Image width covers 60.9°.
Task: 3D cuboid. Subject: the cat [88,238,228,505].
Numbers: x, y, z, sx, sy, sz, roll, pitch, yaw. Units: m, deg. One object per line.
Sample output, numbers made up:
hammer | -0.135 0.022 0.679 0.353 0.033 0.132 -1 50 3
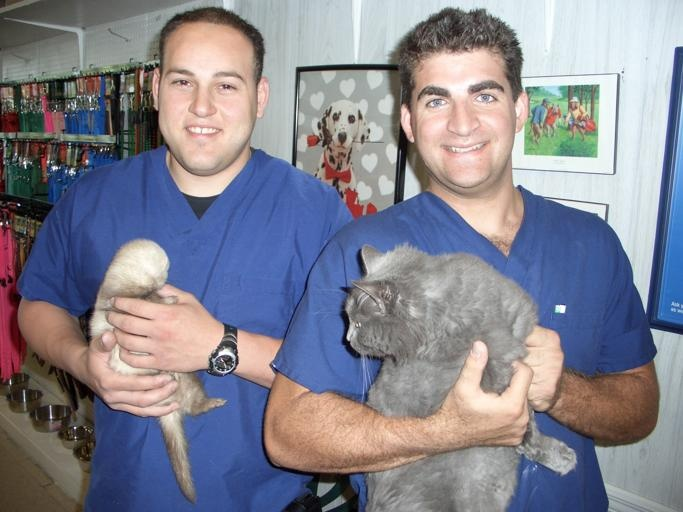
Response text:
cat | -0.786 0.529 2.575 0.475 1.138 0.321 6 16 32

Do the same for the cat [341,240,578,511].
cat | 0.420 0.452 2.158 0.777 0.956 0.393 -3 12 -2
